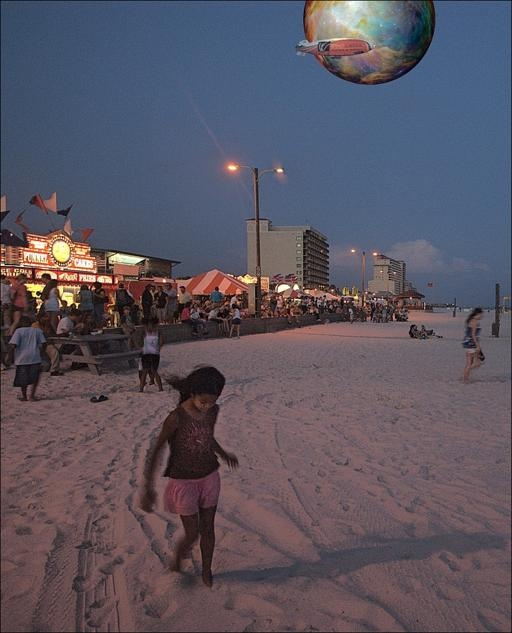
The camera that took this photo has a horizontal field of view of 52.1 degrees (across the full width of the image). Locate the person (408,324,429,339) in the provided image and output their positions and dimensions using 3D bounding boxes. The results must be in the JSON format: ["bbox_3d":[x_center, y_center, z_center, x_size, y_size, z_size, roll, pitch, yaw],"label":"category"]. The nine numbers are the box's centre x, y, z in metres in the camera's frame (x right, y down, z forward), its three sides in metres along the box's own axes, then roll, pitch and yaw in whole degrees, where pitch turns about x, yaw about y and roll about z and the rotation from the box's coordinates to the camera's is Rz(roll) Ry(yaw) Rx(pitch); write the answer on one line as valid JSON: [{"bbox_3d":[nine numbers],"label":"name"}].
[{"bbox_3d":[6.221,0.610,20.181,0.705,0.423,0.999,2,4,10],"label":"person"}]

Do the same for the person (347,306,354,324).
[{"bbox_3d":[7.013,-0.116,38.469,0.515,1.059,2.200,1,6,10],"label":"person"}]

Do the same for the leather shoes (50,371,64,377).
[{"bbox_3d":[-3.648,1.037,9.585,0.233,0.082,0.110,-1,6,-18],"label":"leather shoes"}]

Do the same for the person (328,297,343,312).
[{"bbox_3d":[6.597,-0.984,43.461,0.671,0.882,2.501,-20,-1,3],"label":"person"}]

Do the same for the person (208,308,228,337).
[{"bbox_3d":[-1.415,0.194,19.847,0.669,1.039,1.108,0,5,1],"label":"person"}]

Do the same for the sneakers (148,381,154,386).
[{"bbox_3d":[-1.764,1.112,8.766,0.040,0.049,0.121,2,1,-1],"label":"sneakers"}]

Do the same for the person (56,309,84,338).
[{"bbox_3d":[-3.741,0.116,10.522,0.516,0.501,1.083,-2,6,-19],"label":"person"}]

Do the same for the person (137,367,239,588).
[{"bbox_3d":[-0.410,0.913,3.114,0.501,1.310,0.421,1,5,4],"label":"person"}]

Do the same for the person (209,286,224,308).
[{"bbox_3d":[-1.536,-0.742,20.900,0.477,0.706,1.392,0,5,-1],"label":"person"}]

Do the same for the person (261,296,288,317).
[{"bbox_3d":[0.978,-0.533,28.375,1.172,1.053,3.221,5,-2,-8],"label":"person"}]

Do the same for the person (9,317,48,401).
[{"bbox_3d":[-3.368,0.614,7.736,0.452,1.235,1.137,-2,6,-25],"label":"person"}]

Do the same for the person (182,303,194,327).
[{"bbox_3d":[-2.409,-0.052,18.293,0.580,0.956,0.736,0,1,-6],"label":"person"}]

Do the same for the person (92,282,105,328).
[{"bbox_3d":[-4.016,-0.305,13.404,0.276,1.157,1.093,-2,6,-17],"label":"person"}]
